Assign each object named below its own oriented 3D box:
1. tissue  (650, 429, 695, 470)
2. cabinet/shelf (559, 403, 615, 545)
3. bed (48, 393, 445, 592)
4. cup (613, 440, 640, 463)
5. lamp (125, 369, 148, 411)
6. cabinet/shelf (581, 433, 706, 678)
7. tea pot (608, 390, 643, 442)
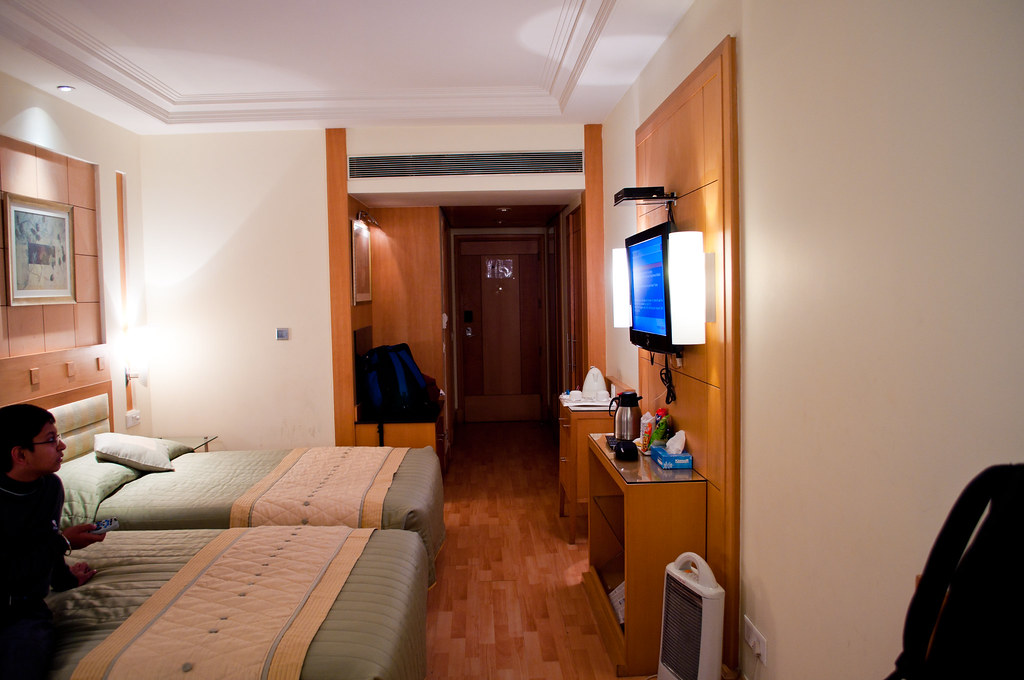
[{"bbox_3d":[0.900,0.539,3.956,0.157,0.207,0.304,0,3,0],"label":"tissue "},{"bbox_3d":[0.534,0.930,4.940,0.387,0.976,1.007,0,2,2],"label":"cabinet/shelf"},{"bbox_3d":[-1.695,0.921,4.550,1.795,0.763,1.373,-1,7,-3],"label":"bed"},{"bbox_3d":[0.652,0.638,4.113,0.130,0.111,0.109,-2,-11,-38],"label":"cup"},{"bbox_3d":[-3.027,0.381,5.656,0.111,0.339,0.327,0,3,-9],"label":"lamp"},{"bbox_3d":[0.727,1.160,3.820,0.415,1.077,1.215,0,-2,5],"label":"cabinet/shelf"},{"bbox_3d":[0.725,0.469,4.496,0.193,0.293,0.195,0,4,0],"label":"tea pot"}]
